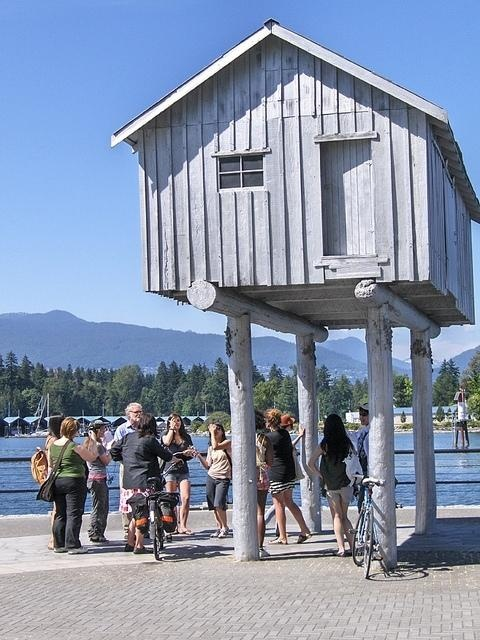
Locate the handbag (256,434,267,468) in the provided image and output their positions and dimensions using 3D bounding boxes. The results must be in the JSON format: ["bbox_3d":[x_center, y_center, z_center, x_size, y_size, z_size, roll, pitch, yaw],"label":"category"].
[{"bbox_3d":[0.258,1.684,12.814,0.169,0.294,0.268,0,-13,3],"label":"handbag"}]

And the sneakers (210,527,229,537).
[{"bbox_3d":[-0.258,3.047,14.373,0.114,0.131,0.251,-1,-8,18],"label":"sneakers"}]

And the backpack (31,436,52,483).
[{"bbox_3d":[-2.493,1.791,12.861,0.324,0.290,0.685,3,-51,-6],"label":"backpack"}]

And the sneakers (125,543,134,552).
[{"bbox_3d":[-1.431,2.965,13.010,0.058,0.114,0.112,4,-13,-4],"label":"sneakers"}]

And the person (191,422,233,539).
[{"bbox_3d":[-0.318,2.262,13.844,0.382,1.643,1.040,-1,-4,-2],"label":"person"}]

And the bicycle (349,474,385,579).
[{"bbox_3d":[1.411,2.297,11.123,0.353,1.020,1.076,-2,-4,6],"label":"bicycle"}]

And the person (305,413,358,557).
[{"bbox_3d":[1.123,2.023,12.134,0.512,1.746,0.737,-1,-4,4],"label":"person"}]

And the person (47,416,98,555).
[{"bbox_3d":[-2.098,2.097,12.555,0.593,1.733,0.764,0,-4,-12],"label":"person"}]

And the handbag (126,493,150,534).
[{"bbox_3d":[-1.238,2.381,12.222,0.262,0.533,0.516,-1,-4,-6],"label":"handbag"}]

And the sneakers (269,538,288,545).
[{"bbox_3d":[0.531,3.033,13.701,0.180,0.092,0.097,3,-8,25],"label":"sneakers"}]

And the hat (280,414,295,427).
[{"bbox_3d":[0.631,1.362,13.446,0.132,0.230,0.352,-14,-8,7],"label":"hat"}]

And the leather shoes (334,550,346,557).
[{"bbox_3d":[1.223,2.866,12.273,0.051,0.077,0.153,2,-1,-26],"label":"leather shoes"}]

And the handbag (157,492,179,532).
[{"bbox_3d":[-0.870,2.340,12.099,0.239,0.474,0.422,-1,5,-5],"label":"handbag"}]

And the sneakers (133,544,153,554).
[{"bbox_3d":[-1.253,2.929,12.880,0.090,0.138,0.299,4,3,22],"label":"sneakers"}]

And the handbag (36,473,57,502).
[{"bbox_3d":[-2.397,2.083,12.426,0.189,0.355,0.316,0,-4,-21],"label":"handbag"}]
